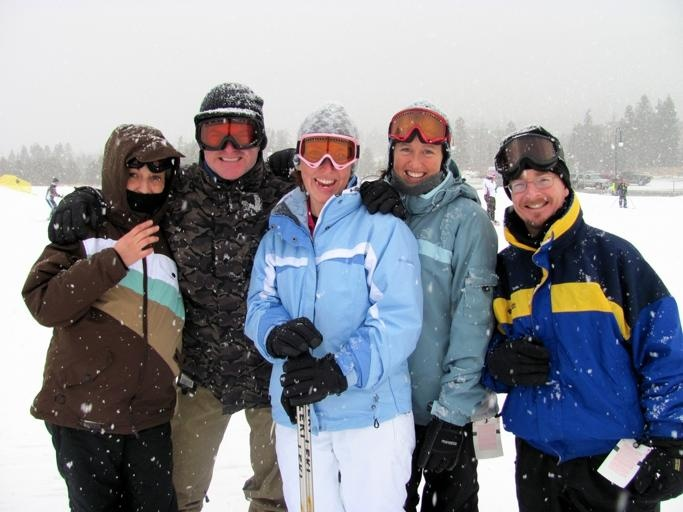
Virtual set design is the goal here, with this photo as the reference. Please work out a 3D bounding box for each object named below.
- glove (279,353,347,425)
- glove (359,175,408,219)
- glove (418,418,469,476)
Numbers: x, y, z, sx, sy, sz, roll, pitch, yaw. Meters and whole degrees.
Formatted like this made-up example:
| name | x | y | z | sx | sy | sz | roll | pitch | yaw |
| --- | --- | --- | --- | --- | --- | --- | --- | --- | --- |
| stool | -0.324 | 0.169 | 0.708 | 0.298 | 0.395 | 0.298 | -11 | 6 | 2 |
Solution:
| name | x | y | z | sx | sy | sz | roll | pitch | yaw |
| --- | --- | --- | --- | --- | --- | --- | --- | --- | --- |
| glove | -0.185 | 0.924 | 4.873 | 0.466 | 0.470 | 0.190 | -1 | 2 | 4 |
| glove | 0.306 | -0.434 | 5.231 | 0.342 | 0.154 | 0.252 | 50 | 14 | 33 |
| glove | 0.750 | 1.418 | 5.184 | 0.386 | 0.404 | 0.154 | 9 | 8 | -23 |
